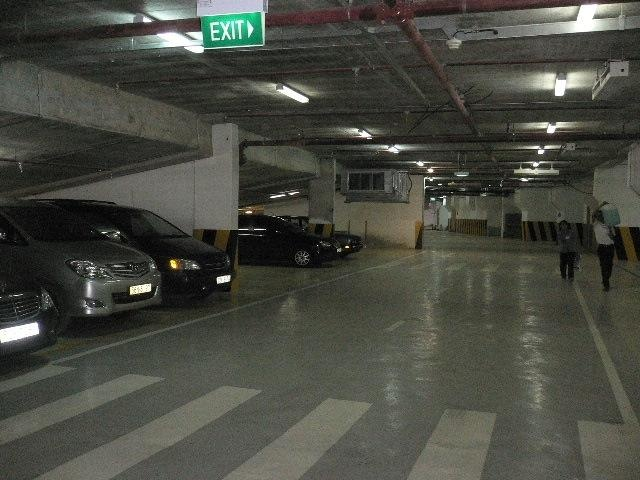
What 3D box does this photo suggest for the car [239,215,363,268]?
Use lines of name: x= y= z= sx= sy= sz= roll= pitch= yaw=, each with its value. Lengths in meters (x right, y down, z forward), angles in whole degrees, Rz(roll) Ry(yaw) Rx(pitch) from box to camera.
car: x=-1.268 y=0.039 z=17.663 sx=4.387 sy=1.347 sz=1.935 roll=-1 pitch=0 yaw=8
